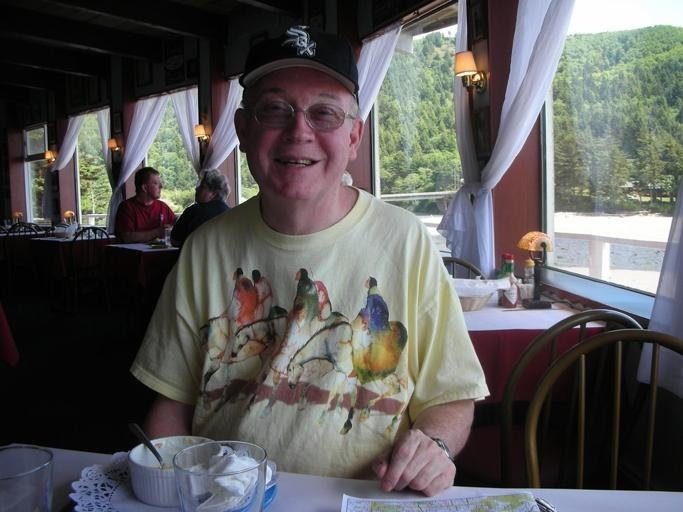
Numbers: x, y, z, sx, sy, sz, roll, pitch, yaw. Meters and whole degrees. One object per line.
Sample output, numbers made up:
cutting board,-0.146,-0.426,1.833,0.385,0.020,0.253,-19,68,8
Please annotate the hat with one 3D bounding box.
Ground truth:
hat,-0.114,-0.531,1.590,0.283,0.203,0.361,6,7,16

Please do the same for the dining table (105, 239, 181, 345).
dining table,-1.742,0.199,5.086,0.849,1.017,1.211,5,-4,-26

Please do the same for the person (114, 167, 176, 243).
person,-2.096,-0.530,5.850,0.441,0.878,0.861,11,13,18

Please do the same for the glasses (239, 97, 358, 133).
glasses,-0.117,-0.385,1.479,0.311,0.086,0.079,-1,7,0

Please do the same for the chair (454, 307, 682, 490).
chair,0.850,0.550,1.960,0.495,0.909,0.529,20,-13,-33
